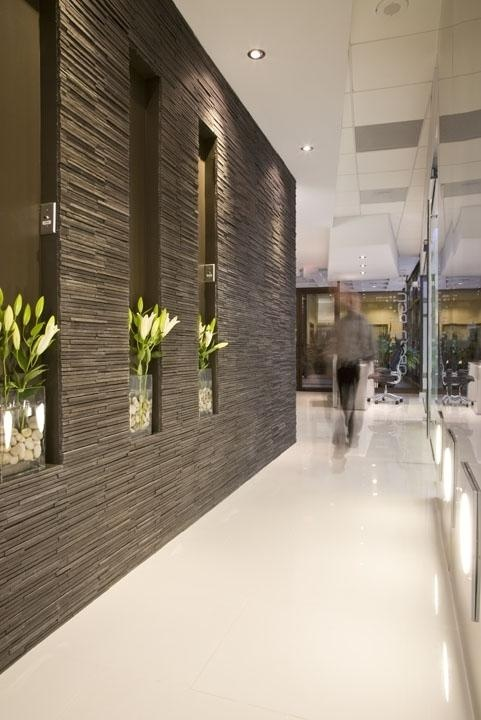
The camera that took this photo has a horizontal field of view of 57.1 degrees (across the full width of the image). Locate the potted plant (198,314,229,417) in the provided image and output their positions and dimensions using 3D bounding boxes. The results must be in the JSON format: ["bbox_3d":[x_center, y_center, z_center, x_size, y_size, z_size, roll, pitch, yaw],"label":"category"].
[{"bbox_3d":[-0.188,0.038,2.941,0.161,0.660,0.354,1,-3,-2],"label":"potted plant"}]

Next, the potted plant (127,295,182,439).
[{"bbox_3d":[-0.422,0.030,2.124,0.224,0.650,0.378,1,-3,-12],"label":"potted plant"}]
